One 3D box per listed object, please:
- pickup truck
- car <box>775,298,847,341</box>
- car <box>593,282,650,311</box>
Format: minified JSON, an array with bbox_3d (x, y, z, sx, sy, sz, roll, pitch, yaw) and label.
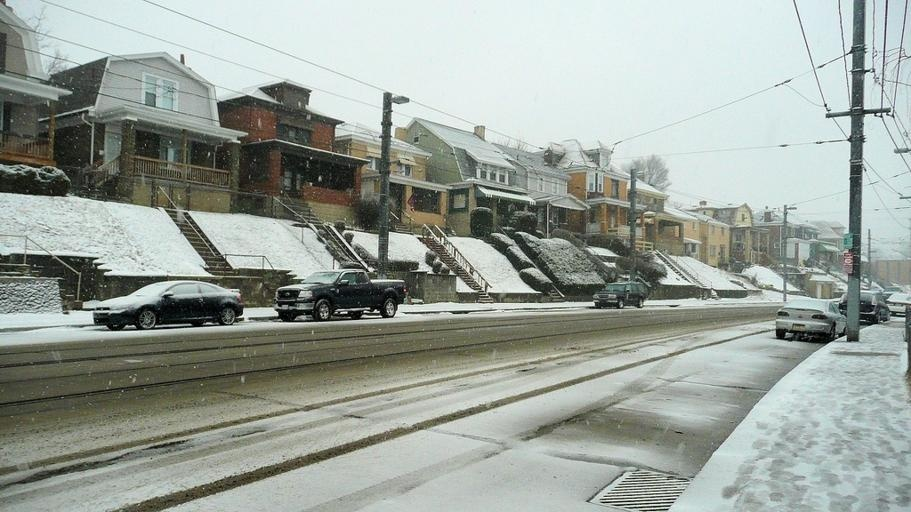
[{"bbox_3d":[-5.896,2.006,42.326,2.750,1.809,5.533,-7,-9,44],"label":"pickup truck"},{"bbox_3d":[16.832,3.005,39.194,3.569,1.711,1.736,-2,-3,-30],"label":"car"},{"bbox_3d":[11.289,2.789,57.401,1.689,1.291,3.584,-8,-10,42],"label":"car"}]
